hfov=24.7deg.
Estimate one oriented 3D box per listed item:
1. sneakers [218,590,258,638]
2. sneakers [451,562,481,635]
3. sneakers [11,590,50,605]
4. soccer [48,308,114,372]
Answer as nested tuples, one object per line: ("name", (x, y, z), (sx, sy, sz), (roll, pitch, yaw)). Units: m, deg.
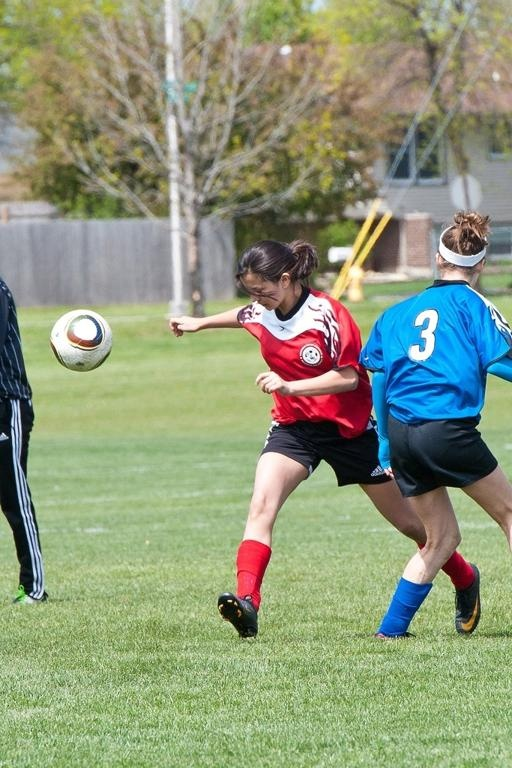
("sneakers", (-0.049, 0.791, 3.975), (0.103, 0.196, 0.230), (-1, 2, 16))
("sneakers", (0.801, 0.821, 4.362), (0.110, 0.201, 0.077), (14, -10, -35))
("sneakers", (-0.913, 0.879, 4.804), (0.157, 0.057, 0.054), (9, -12, -34))
("soccer", (-0.705, -0.180, 4.888), (0.296, 0.243, 0.269), (3, 3, 9))
